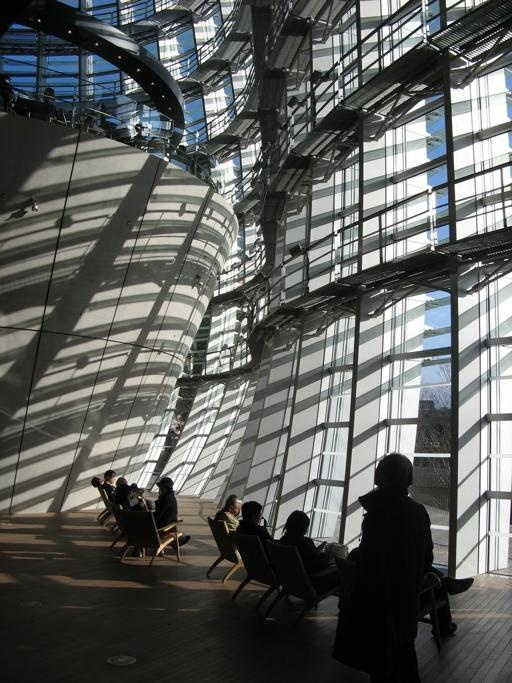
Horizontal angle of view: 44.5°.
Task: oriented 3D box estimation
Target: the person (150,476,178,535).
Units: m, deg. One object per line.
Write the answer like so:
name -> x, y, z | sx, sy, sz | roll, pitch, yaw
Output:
person -> -1.342, 2.399, 9.352 | 0.358, 0.727, 0.528 | 3, -12, -8

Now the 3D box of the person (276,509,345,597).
person -> 0.481, 2.085, 6.324 | 0.602, 0.751, 0.676 | -2, -8, 28

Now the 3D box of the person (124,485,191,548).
person -> -1.439, 2.565, 9.476 | 0.583, 1.041, 0.436 | 8, 7, -17
